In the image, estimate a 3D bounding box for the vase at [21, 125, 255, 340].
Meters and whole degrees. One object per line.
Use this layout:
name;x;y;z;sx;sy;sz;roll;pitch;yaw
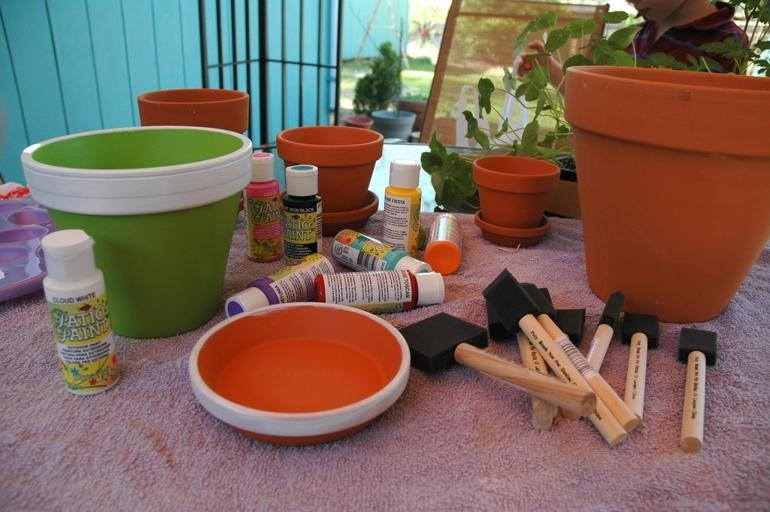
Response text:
vase;-0.377;-0.047;1.144;0.406;0.312;0.401;7;20;9

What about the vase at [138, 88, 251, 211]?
vase;-0.423;-0.251;1.458;0.282;0.307;0.279;-15;26;-36

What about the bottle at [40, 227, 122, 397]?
bottle;-0.478;0.088;0.922;0.091;0.244;0.106;-14;32;-27

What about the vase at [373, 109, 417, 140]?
vase;0.072;-1.102;5.058;0.372;0.204;0.371;-1;27;-5

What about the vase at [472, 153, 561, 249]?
vase;0.269;-0.112;1.401;0.213;0.180;0.208;-4;24;-7
